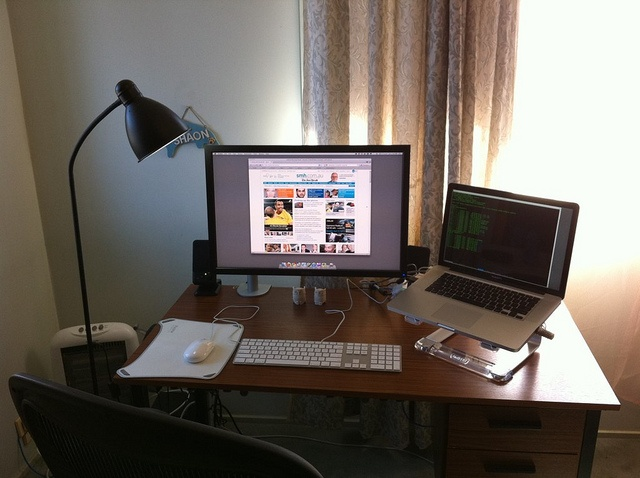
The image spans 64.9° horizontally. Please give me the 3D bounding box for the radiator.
[{"bbox_3d":[-0.975,0.606,2.222,0.333,0.512,0.166,-4,10,-22],"label":"radiator"}]

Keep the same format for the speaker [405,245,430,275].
[{"bbox_3d":[0.388,0.081,2.010,0.091,0.142,0.111,3,3,8],"label":"speaker"}]
